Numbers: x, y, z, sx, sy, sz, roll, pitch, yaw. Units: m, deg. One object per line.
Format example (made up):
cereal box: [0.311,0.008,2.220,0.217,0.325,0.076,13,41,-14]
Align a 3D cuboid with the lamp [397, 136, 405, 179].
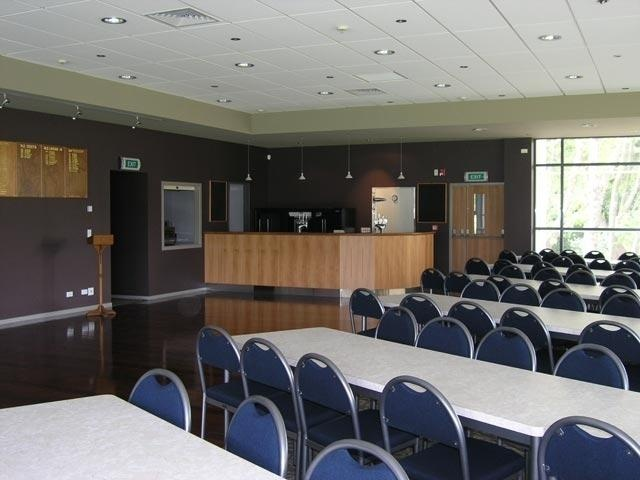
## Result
lamp: [2.330,-2.267,12.932,0.230,1.105,0.284,0,4,9]

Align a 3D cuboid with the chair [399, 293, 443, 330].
chair: [1.041,0.700,4.651,0.319,0.541,0.372,2,2,33]

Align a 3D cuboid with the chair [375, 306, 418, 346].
chair: [0.698,0.730,4.091,0.319,0.502,0.323,6,-1,35]

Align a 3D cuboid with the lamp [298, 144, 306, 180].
lamp: [-0.549,-2.338,13.816,0.280,1.028,0.146,0,4,9]

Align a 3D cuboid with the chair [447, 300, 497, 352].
chair: [1.434,0.781,4.381,0.387,0.656,0.447,3,4,34]
